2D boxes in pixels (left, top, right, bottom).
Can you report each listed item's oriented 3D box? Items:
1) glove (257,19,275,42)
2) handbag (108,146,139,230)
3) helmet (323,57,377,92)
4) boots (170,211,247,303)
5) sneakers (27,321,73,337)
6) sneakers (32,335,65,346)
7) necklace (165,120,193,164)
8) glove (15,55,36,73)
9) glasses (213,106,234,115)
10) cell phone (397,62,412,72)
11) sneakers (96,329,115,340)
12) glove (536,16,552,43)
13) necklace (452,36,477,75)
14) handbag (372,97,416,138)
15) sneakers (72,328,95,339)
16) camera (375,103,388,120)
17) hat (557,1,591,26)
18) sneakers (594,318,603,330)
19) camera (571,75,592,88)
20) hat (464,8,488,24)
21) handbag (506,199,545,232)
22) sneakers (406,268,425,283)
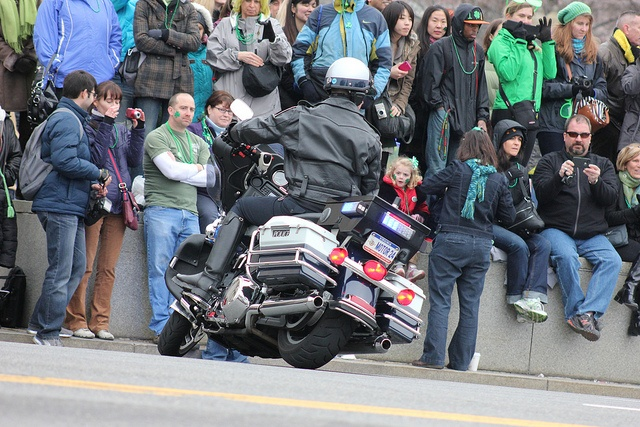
[{"bbox_3d":[-0.728,-2.597,11.602,0.202,0.305,0.218,3,1,-16],"label":"glove"},{"bbox_3d":[-2.593,-0.312,10.677,0.417,1.060,0.271,3,0,-13],"label":"handbag"},{"bbox_3d":[0.315,-1.515,8.947,0.378,0.334,0.431,13,14,34],"label":"helmet"},{"bbox_3d":[-1.210,0.503,9.182,0.672,1.014,0.394,31,-2,1],"label":"boots"},{"bbox_3d":[-3.381,1.488,10.227,0.652,0.276,0.215,2,4,-17],"label":"sneakers"},{"bbox_3d":[-3.318,1.549,9.886,0.343,0.132,0.280,3,1,-21],"label":"sneakers"},{"bbox_3d":[-1.871,-0.897,10.761,0.098,0.567,0.315,-28,-21,38],"label":"necklace"},{"bbox_3d":[-4.361,-2.187,11.992,0.271,0.104,0.231,5,40,8],"label":"glove"},{"bbox_3d":[-1.313,-1.374,11.102,0.237,0.071,0.240,24,8,37],"label":"glasses"},{"bbox_3d":[1.321,-2.206,12.230,0.165,0.168,0.272,3,1,26],"label":"cell phone"},{"bbox_3d":[-2.790,1.580,10.552,0.248,0.100,0.094,2,5,38],"label":"sneakers"},{"bbox_3d":[3.506,-2.858,12.521,0.218,0.403,0.681,3,1,15],"label":"glove"},{"bbox_3d":[2.216,-2.362,12.267,0.353,0.605,0.097,-10,0,-37],"label":"necklace"},{"bbox_3d":[1.128,-1.288,12.273,0.520,0.766,0.752,-8,-6,37],"label":"handbag"},{"bbox_3d":[-3.045,1.534,10.371,0.290,0.122,0.109,3,6,11],"label":"sneakers"},{"bbox_3d":[0.922,-1.508,12.054,0.167,0.225,0.225,-16,42,3],"label":"camera"},{"bbox_3d":[4.124,-3.231,13.048,0.378,0.286,0.415,-26,21,-34],"label":"hat"},{"bbox_3d":[4.152,1.628,11.960,0.161,0.138,0.285,9,-3,21],"label":"sneakers"},{"bbox_3d":[4.130,-2.039,12.739,0.203,0.160,0.328,2,3,-5],"label":"camera"},{"bbox_3d":[2.365,-2.959,12.247,0.205,0.176,0.296,16,-3,-40],"label":"hat"},{"bbox_3d":[2.892,0.042,11.424,0.405,0.393,0.224,-12,0,5],"label":"handbag"},{"bbox_3d":[1.051,0.699,9.157,0.108,0.147,0.310,-1,-12,-30],"label":"sneakers"}]
